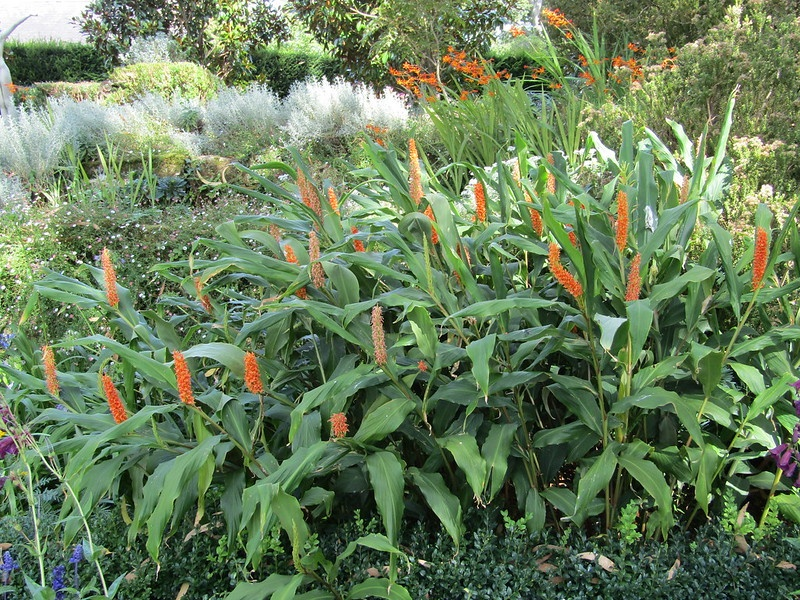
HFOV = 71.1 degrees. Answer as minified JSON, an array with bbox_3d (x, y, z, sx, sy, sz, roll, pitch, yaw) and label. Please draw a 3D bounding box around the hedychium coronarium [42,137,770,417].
[{"bbox_3d":[0.217,0.033,2.592,1.988,1.121,1.767,-1,33,8],"label":"hedychium coronarium"}]
